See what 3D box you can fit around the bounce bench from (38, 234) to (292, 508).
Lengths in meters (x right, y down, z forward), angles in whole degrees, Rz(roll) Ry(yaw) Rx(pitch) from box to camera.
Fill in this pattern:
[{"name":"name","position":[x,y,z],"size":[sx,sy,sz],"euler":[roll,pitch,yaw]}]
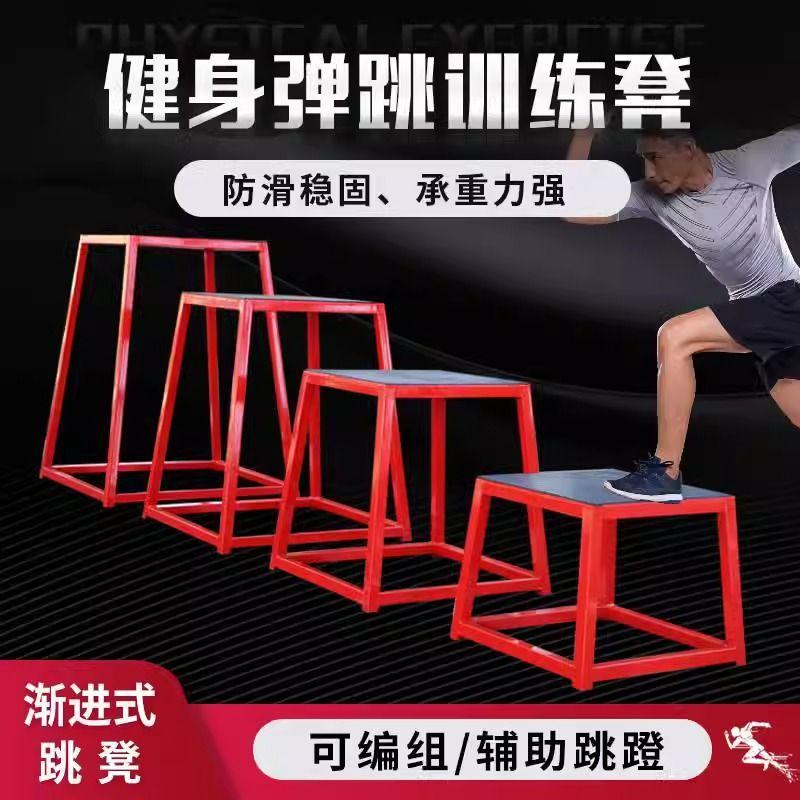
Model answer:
[{"name":"bounce bench","position":[-0.904,-0.143,3.383],"size":[0.897,1.016,1.013],"euler":[-2,4,-38]}]

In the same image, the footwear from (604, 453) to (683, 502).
[{"name":"footwear","position":[0.487,0.175,1.719],"size":[0.181,0.078,0.066],"euler":[2,-1,-12]}]

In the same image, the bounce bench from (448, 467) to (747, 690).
[{"name":"bounce bench","position":[0.487,0.338,1.858],"size":[0.599,0.411,0.534],"euler":[4,-3,-22]}]

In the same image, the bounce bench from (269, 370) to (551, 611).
[{"name":"bounce bench","position":[0.021,0.255,2.390],"size":[0.618,0.524,0.646],"euler":[0,0,-27]}]
